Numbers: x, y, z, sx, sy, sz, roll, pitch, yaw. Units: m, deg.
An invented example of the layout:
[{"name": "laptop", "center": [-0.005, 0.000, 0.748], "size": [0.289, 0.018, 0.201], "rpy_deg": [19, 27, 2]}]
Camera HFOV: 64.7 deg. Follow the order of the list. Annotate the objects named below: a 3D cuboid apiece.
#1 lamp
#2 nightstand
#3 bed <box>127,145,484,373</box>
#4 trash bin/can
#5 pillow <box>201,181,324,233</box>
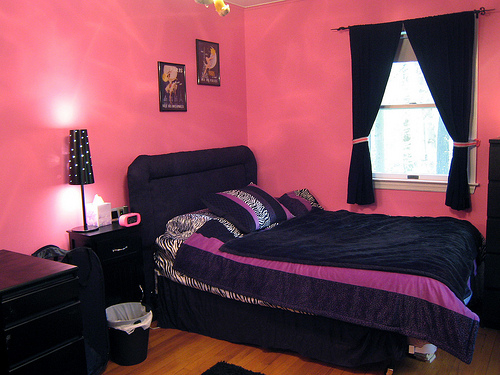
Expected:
[{"name": "lamp", "center": [-1.365, -0.058, 3.159], "size": [0.197, 0.794, 0.354], "rpy_deg": [-8, 15, -25]}, {"name": "nightstand", "center": [-1.009, 0.694, 3.240], "size": [0.363, 0.669, 0.242], "rpy_deg": [-7, 4, 0]}, {"name": "bed", "center": [0.491, 0.614, 3.474], "size": [2.408, 1.384, 1.792], "rpy_deg": [3, 12, 28]}, {"name": "trash bin/can", "center": [-0.963, 1.140, 3.100], "size": [0.387, 0.394, 0.359], "rpy_deg": [5, 8, 35]}, {"name": "pillow", "center": [0.168, 0.193, 3.943], "size": [0.860, 0.184, 0.536], "rpy_deg": [-10, 33, -46]}]
